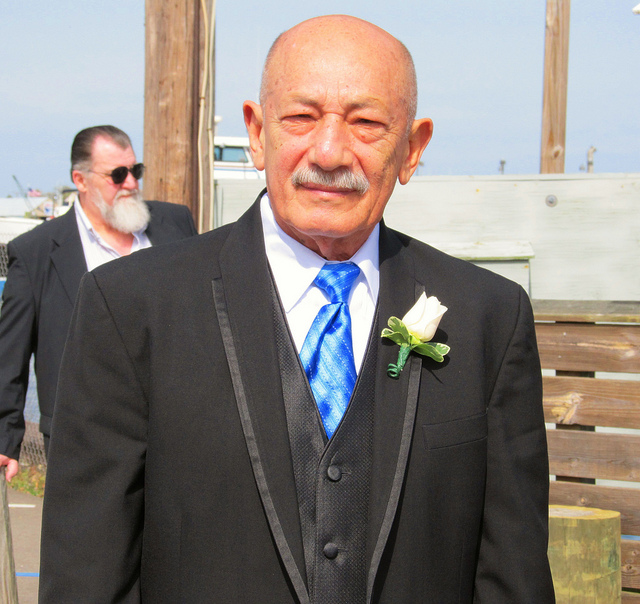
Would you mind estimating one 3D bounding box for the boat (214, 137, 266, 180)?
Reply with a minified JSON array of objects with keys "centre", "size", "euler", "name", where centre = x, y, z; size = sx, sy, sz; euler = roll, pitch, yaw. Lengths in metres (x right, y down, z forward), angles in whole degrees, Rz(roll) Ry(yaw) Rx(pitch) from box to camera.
[{"centre":[-1.747,-2.957,21.165],"size":[0.723,1.000,2.728],"euler":[-3,4,-4],"name":"boat"}]
